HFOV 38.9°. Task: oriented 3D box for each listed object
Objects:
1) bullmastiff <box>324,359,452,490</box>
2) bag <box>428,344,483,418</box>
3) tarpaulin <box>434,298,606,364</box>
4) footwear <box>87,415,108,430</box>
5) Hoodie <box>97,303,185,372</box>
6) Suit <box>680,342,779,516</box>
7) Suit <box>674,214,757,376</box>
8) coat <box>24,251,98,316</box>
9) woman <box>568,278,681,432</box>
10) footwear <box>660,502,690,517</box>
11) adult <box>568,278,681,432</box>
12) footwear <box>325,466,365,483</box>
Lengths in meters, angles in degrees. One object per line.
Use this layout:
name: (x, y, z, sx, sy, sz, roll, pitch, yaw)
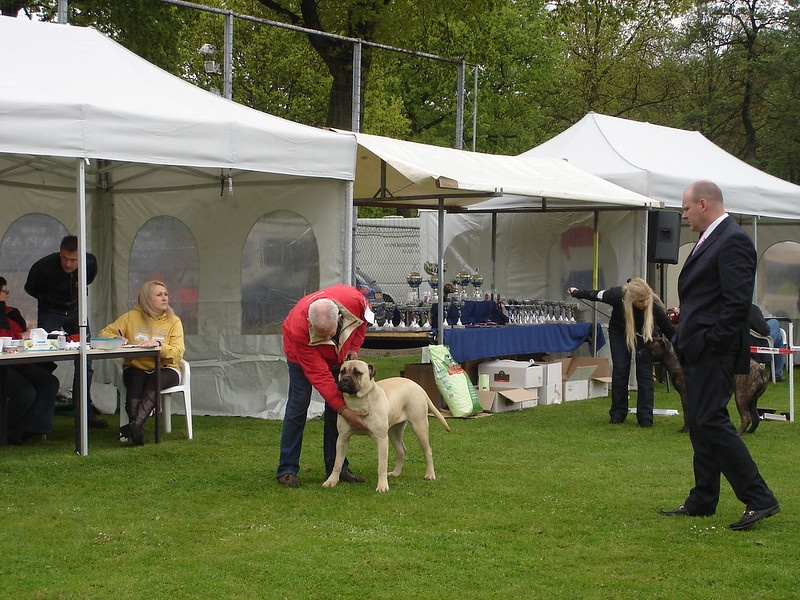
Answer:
bullmastiff: (-0.169, 1.256, 11.609, 0.607, 1.270, 1.989, 2, -2, 31)
bag: (0.705, 1.012, 14.825, 0.315, 1.020, 0.567, -27, -8, 39)
tarpaulin: (1.744, 0.630, 16.207, 3.094, 0.481, 0.595, -1, -17, -38)
footwear: (-3.725, 1.476, 13.779, 0.266, 0.122, 0.103, 8, 8, 24)
Hoodie: (-2.941, 0.402, 13.279, 0.721, 1.040, 0.916, -9, -8, 42)
Suit: (2.914, 1.006, 10.395, 0.820, 1.970, 0.563, -17, -23, 42)
Suit: (2.899, -0.046, 10.300, 0.663, 1.355, 0.452, 3, 12, 14)
coat: (-4.089, -0.221, 13.423, 0.651, 0.574, 0.371, 8, 14, -33)
woman: (3.006, 0.797, 15.163, 1.802, 2.249, 1.173, -1, 2, -5)
footwear: (2.616, 1.967, 10.668, 0.281, 0.119, 0.101, 3, -2, 11)
adult: (3.006, 0.797, 15.163, 1.802, 2.249, 1.173, -1, 2, -5)
footwear: (-0.528, 1.797, 11.560, 0.293, 0.132, 0.111, -3, -2, 16)
